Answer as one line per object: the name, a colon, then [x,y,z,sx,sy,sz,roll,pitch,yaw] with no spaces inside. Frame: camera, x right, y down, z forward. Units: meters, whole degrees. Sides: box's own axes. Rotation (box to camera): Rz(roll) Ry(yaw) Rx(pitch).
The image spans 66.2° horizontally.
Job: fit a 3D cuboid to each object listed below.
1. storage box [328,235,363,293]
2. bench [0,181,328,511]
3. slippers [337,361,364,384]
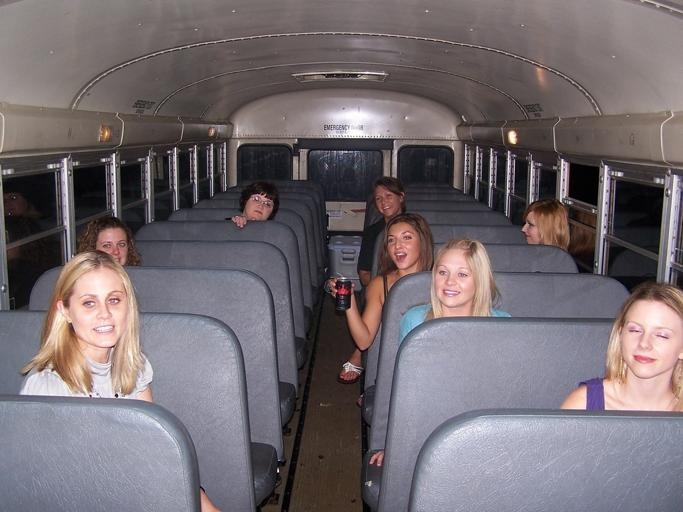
storage box: [0.054,0.127,8.931,0.941,0.901,0.674,1,23,-1]
bench: [-1.092,0.343,4.045,2.535,1.710,1.833,-1,1,4]
slippers: [0.096,1.240,5.557,0.244,0.287,0.392,2,2,-1]
